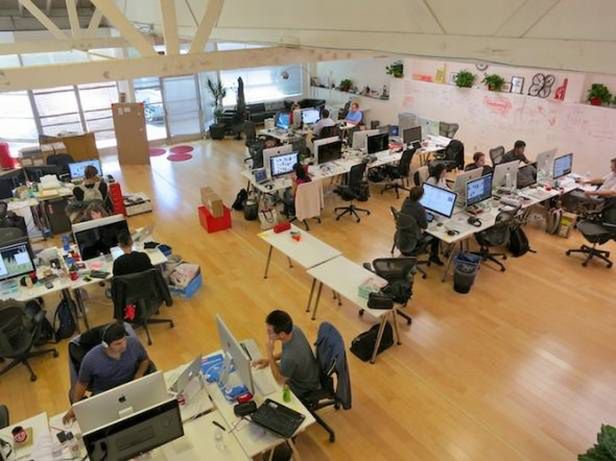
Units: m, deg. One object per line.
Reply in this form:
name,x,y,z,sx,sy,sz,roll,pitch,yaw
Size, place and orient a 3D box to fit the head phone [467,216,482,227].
head phone,2.804,-0.150,6.965,0.138,0.094,0.203,-28,40,-36

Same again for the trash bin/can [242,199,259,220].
trash bin/can,-1.181,-0.441,8.779,0.358,0.388,0.389,-3,28,-5

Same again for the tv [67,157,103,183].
tv,-4.729,-1.363,8.759,0.808,0.486,0.551,-16,31,-36

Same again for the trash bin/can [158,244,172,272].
trash bin/can,-2.334,0.464,6.761,0.235,0.387,0.211,-27,51,-32

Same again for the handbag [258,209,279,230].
handbag,-0.774,-0.209,8.190,0.318,0.301,0.163,-28,45,-32

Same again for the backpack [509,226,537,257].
backpack,3.842,0.185,7.571,0.426,0.519,0.477,-14,16,-14

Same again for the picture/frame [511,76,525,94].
picture/frame,5.107,-3.547,10.064,0.015,0.415,0.316,-25,45,-31

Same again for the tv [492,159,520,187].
tv,3.797,-1.071,7.923,0.482,0.483,0.225,-10,28,-11

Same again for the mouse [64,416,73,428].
mouse,-2.372,1.910,4.117,0.075,0.075,0.024,13,-15,-23

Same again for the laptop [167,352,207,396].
laptop,-1.306,1.466,4.352,0.360,0.448,0.307,-13,24,-23

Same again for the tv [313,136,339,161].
tv,0.414,-1.795,9.171,0.779,0.517,0.277,-22,39,-34

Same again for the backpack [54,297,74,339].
backpack,-3.504,1.264,6.005,0.185,0.563,0.423,-3,-3,32

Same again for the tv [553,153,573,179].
tv,5.206,-1.300,8.468,0.576,0.409,0.163,-23,35,-25

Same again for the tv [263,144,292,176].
tv,-0.568,-1.390,8.567,0.638,0.614,0.313,-20,34,-36

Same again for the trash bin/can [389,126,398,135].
trash bin/can,2.213,-2.588,10.741,0.243,0.228,0.133,9,28,8

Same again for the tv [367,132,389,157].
tv,1.582,-1.960,9.432,0.554,0.389,0.074,-18,31,-29

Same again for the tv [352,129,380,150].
tv,1.341,-2.071,9.519,0.536,0.384,0.259,-15,48,-12

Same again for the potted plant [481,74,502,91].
potted plant,4.624,-3.731,10.425,0.422,0.291,0.400,2,31,5

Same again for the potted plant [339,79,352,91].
potted plant,1.297,-4.974,14.248,0.417,0.405,0.397,2,22,-4

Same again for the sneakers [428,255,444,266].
sneakers,2.270,0.508,7.424,0.311,0.213,0.115,8,34,23

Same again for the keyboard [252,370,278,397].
keyboard,-0.453,1.630,4.466,0.253,0.095,0.321,-8,23,-12

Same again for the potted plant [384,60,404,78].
potted plant,2.616,-4.863,12.552,0.218,0.476,0.600,-15,25,-27

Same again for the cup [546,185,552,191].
cup,4.693,-0.823,8.051,0.092,0.066,0.071,0,25,35

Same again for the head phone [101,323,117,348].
head phone,-2.029,1.087,4.244,0.087,0.191,0.216,8,19,11

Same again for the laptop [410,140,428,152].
laptop,2.656,-2.045,10.025,0.361,0.242,0.259,-18,30,-30

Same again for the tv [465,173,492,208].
tv,3.040,-0.699,7.386,0.532,0.375,0.151,-25,38,-28

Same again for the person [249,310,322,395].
person,-0.257,1.426,4.740,0.501,0.882,0.398,-4,54,13

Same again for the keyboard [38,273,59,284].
keyboard,-3.678,0.681,5.866,0.247,0.057,0.173,-19,27,-35

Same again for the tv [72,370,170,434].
tv,-1.751,1.611,3.856,0.512,0.440,0.162,-18,35,-24

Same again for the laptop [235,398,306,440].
laptop,-0.386,1.846,4.151,0.671,0.178,0.299,7,24,22

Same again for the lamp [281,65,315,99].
lamp,-0.439,-5.553,15.512,1.183,1.154,0.388,-4,22,-3

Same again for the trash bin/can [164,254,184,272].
trash bin/can,-2.235,0.517,6.904,0.275,0.281,0.199,13,38,13

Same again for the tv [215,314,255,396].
tv,-0.824,1.353,4.319,0.332,0.620,0.702,-16,35,-33

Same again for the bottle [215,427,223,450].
bottle,-0.864,2.020,4.014,0.058,0.151,0.057,-2,28,1

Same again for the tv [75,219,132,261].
tv,-3.063,0.150,6.290,0.722,0.522,0.319,-15,3,-10

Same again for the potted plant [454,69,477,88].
potted plant,4.155,-3.984,10.926,0.450,0.323,0.459,15,23,22

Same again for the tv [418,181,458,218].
tv,2.242,-0.532,7.137,0.605,0.535,0.303,24,41,28

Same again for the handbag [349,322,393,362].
handbag,0.925,1.555,5.859,0.667,0.373,0.361,-17,31,-40

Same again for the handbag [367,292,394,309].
handbag,0.928,0.908,5.320,0.228,0.084,0.229,6,18,11

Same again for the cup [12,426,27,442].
cup,-2.758,1.950,3.957,0.096,0.100,0.105,-1,19,0

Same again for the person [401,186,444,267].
person,1.900,-0.076,6.857,0.782,1.345,0.593,-21,41,-20
